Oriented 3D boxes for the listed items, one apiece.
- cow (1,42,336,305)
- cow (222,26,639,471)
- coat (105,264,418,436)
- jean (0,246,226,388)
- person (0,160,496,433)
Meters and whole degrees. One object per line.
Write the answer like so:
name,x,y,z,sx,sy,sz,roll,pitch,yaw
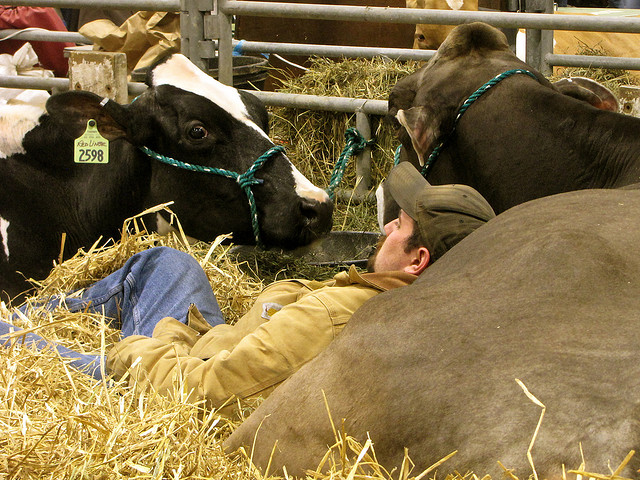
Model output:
cow,-0.792,-0.317,3.969,1.931,1.106,0.830,4,13,19
cow,0.582,-0.144,3.187,1.150,0.824,2.678,10,29,10
coat,-0.250,0.368,2.861,0.855,0.287,0.601,-11,-9,13
jean,-0.804,0.266,3.378,0.488,0.305,0.749,48,45,13
person,-0.294,0.238,3.042,1.547,0.605,0.990,1,0,15
